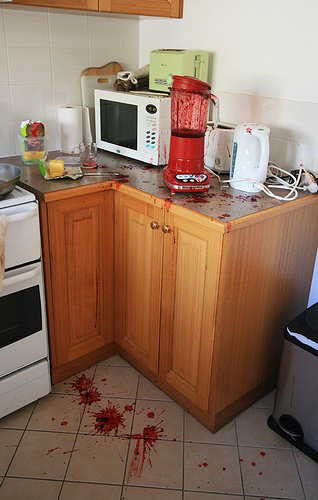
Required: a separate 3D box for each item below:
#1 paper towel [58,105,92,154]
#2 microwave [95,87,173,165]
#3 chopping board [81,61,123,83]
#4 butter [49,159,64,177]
[{"bbox_3d":[-0.414,-0.574,1.763,0.138,0.255,0.120,-12,31,-39],"label":"paper towel"},{"bbox_3d":[-0.090,-0.564,1.612,0.383,0.258,0.217,24,32,33],"label":"microwave"},{"bbox_3d":[-0.275,-0.918,1.850,0.271,0.112,0.029,-26,28,-36],"label":"chopping board"},{"bbox_3d":[-0.368,-0.297,1.309,0.051,0.055,0.054,4,14,14],"label":"butter"}]
